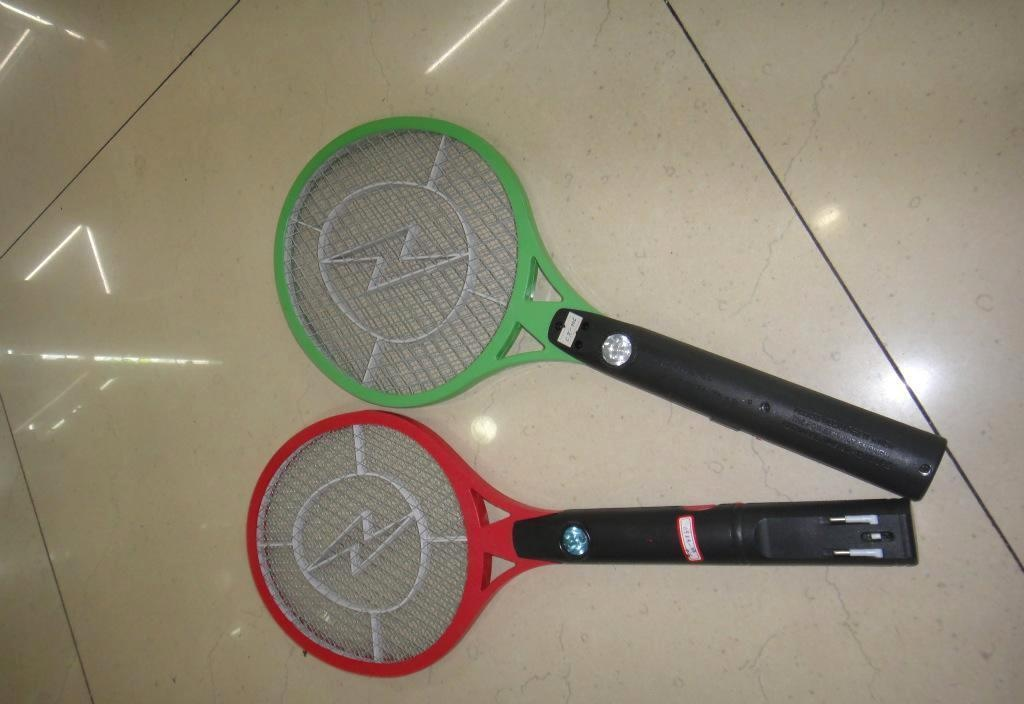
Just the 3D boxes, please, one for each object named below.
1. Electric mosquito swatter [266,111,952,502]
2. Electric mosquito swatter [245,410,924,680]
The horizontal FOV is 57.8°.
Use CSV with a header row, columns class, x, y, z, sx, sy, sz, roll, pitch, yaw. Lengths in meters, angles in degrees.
class,x,y,z,sx,sy,sz,roll,pitch,yaw
Electric mosquito swatter,0.182,-0.074,2.406,1.680,0.184,0.752,20,-84,17
Electric mosquito swatter,0.162,0.451,2.302,1.512,0.140,0.676,-4,-96,20
